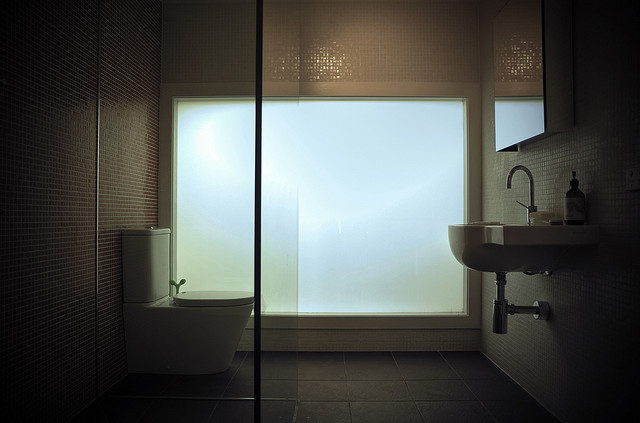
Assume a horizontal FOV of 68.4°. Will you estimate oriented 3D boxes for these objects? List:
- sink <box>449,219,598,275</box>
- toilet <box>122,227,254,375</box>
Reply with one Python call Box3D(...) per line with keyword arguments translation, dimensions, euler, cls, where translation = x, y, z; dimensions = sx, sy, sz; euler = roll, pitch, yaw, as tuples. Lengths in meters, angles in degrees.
Box3D(translation=(1.244, 0.195, 2.982), dimensions=(0.728, 0.473, 0.421), euler=(-2, -64, 0), cls="sink")
Box3D(translation=(-0.621, 0.531, 2.812), dimensions=(0.847, 0.534, 0.950), euler=(1, -91, -5), cls="toilet")
